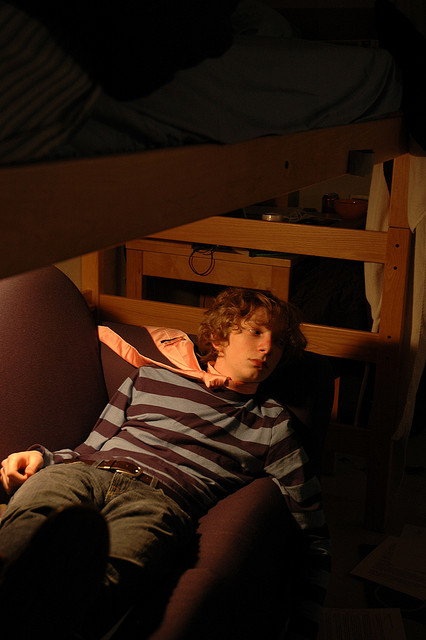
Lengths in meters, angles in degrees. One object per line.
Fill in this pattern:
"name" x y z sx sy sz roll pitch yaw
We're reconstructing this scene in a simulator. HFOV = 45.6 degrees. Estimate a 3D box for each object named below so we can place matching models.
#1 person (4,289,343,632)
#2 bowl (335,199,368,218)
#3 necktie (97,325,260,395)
"person" -0.069 0.340 1.225 0.603 0.325 0.916 24 27 10
"bowl" 0.775 -0.620 2.806 0.128 0.069 0.125 0 15 0
"necktie" -0.142 0.110 1.644 0.604 0.125 0.207 19 17 36
